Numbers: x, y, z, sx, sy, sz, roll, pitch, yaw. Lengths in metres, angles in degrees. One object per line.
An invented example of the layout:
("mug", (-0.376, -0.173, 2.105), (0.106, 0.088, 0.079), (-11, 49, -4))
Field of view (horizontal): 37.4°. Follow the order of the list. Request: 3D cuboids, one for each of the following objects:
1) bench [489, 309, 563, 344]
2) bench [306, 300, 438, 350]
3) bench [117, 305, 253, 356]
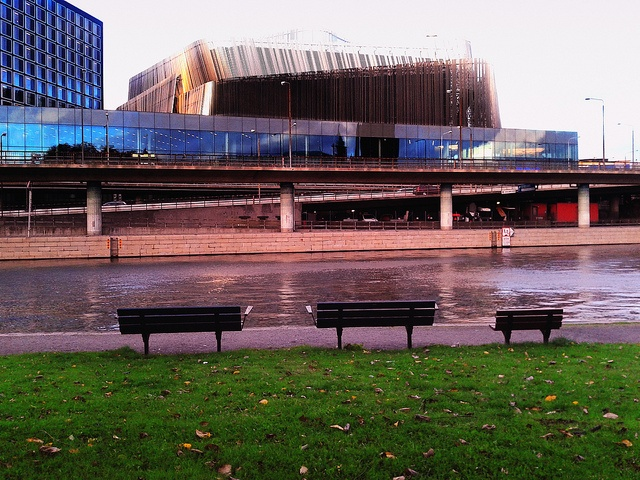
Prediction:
("bench", (8.223, 3.405, 37.451), (2.645, 1.331, 0.387), (-2, 1, -4))
("bench", (2.147, 3.360, 38.066), (5.061, 1.919, 1.561), (-1, 3, -6))
("bench", (-5.480, 3.510, 36.957), (4.649, 1.368, 0.326), (-2, 1, -3))
